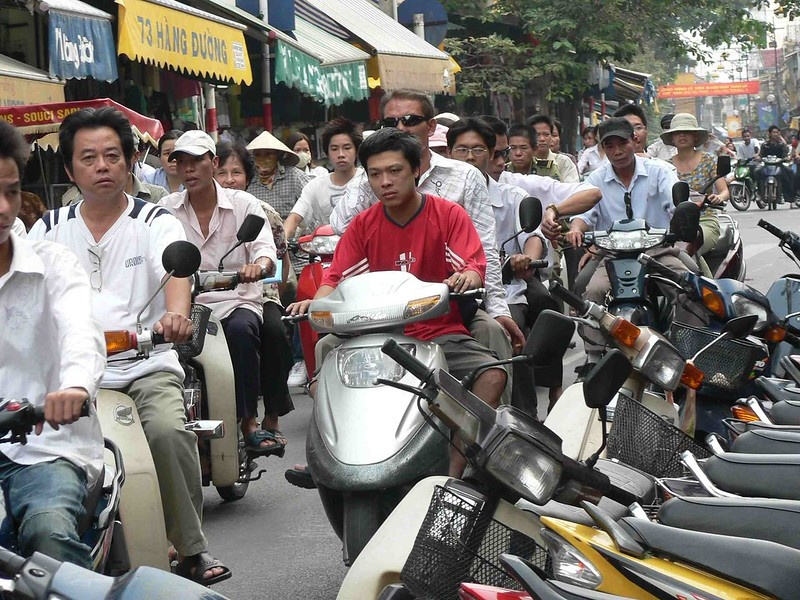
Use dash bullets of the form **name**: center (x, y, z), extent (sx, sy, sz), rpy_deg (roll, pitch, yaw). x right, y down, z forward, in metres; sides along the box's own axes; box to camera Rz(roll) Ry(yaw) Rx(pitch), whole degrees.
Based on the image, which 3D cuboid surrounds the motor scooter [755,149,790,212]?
- **motor scooter**: center (11.637, -3.722, 24.163), extent (1.013, 1.571, 2.766), rpy_deg (2, 7, 27)

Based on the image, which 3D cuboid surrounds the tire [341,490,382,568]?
- **tire**: center (-0.146, 0.905, 3.087), extent (0.103, 0.240, 0.277), rpy_deg (-4, 17, 5)

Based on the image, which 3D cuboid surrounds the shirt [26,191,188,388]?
- **shirt**: center (-1.489, -0.133, 4.121), extent (0.594, 0.715, 1.080), rpy_deg (-10, 16, -9)

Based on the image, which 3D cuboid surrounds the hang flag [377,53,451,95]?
- **hang flag**: center (0.320, -4.472, 15.346), extent (0.326, 0.798, 2.621), rpy_deg (15, 19, 33)

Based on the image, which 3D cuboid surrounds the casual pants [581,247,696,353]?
- **casual pants**: center (1.727, -0.121, 5.723), extent (0.669, 0.868, 1.285), rpy_deg (1, 15, 23)

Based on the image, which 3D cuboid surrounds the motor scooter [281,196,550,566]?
- **motor scooter**: center (-0.017, 0.545, 4.123), extent (0.936, 1.401, 2.143), rpy_deg (-4, 0, 10)

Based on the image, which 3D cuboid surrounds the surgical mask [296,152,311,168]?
- **surgical mask**: center (-1.319, -1.931, 10.707), extent (0.226, 0.148, 0.244), rpy_deg (-2, 6, -10)

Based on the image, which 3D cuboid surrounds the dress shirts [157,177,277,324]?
- **dress shirts**: center (-1.259, -0.354, 5.762), extent (0.678, 0.763, 1.126), rpy_deg (-3, 1, 0)

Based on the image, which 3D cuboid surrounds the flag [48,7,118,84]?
- **flag**: center (-3.076, -2.450, 7.539), extent (0.068, 0.654, 0.908), rpy_deg (7, 17, 20)

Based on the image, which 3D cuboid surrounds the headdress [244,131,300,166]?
- **headdress**: center (-1.533, -1.832, 9.284), extent (0.596, 0.273, 0.622), rpy_deg (2, 5, 7)

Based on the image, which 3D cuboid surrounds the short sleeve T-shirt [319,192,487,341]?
- **short sleeve T-shirt**: center (0.079, -0.237, 4.106), extent (0.520, 0.650, 1.048), rpy_deg (-21, 0, 12)

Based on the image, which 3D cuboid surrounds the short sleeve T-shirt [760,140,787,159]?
- **short sleeve T-shirt**: center (11.609, -4.665, 23.966), extent (0.648, 0.383, 0.701), rpy_deg (2, 1, 6)

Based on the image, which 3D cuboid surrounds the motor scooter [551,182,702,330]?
- **motor scooter**: center (1.652, -0.161, 5.828), extent (0.913, 1.271, 1.859), rpy_deg (6, 5, 9)
